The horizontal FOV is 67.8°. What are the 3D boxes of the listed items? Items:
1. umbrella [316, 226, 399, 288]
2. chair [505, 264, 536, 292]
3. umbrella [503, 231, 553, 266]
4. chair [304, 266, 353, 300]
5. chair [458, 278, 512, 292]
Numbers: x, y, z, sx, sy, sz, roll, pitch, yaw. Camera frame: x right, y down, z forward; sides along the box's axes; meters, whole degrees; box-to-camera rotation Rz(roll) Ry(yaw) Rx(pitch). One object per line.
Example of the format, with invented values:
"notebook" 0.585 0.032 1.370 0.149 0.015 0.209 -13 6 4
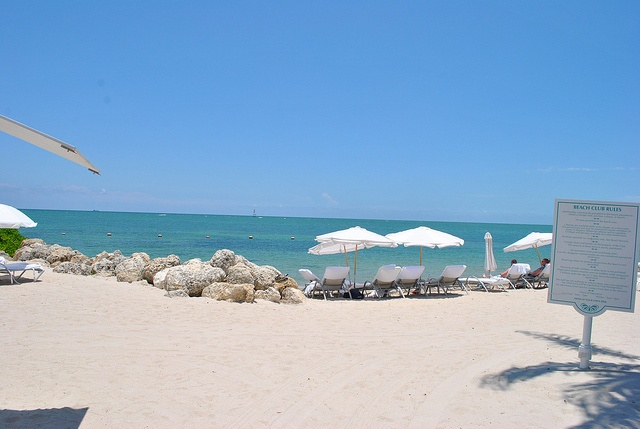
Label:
"umbrella" 1.189 1.326 14.361 2.205 1.339 2.118 0 1 -28
"chair" 6.826 2.110 16.361 0.788 0.906 1.030 0 1 1
"umbrella" 13.612 2.319 31.305 3.433 1.940 3.146 -1 -9 8
"chair" 0.163 1.961 13.969 0.898 0.696 1.328 5 -10 -23
"chair" 5.657 2.382 16.433 0.899 0.399 1.497 3 -6 -28
